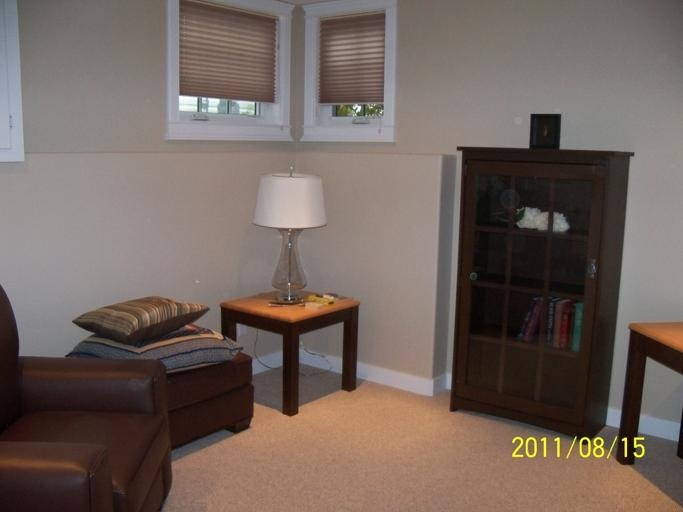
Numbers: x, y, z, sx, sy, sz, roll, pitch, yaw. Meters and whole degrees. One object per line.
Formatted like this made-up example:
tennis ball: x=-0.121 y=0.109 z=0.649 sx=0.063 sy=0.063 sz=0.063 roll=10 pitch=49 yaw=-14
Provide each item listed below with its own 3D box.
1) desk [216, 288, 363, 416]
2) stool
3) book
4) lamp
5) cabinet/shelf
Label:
desk: x=-0.401 y=0.536 z=4.000 sx=0.820 sy=0.845 sz=0.844 roll=6 pitch=10 yaw=40
stool: x=-0.991 y=0.722 z=3.334 sx=0.648 sy=0.561 sz=0.670 roll=7 pitch=11 yaw=36
book: x=1.295 y=0.398 z=3.386 sx=0.273 sy=0.378 sz=0.379 roll=7 pitch=3 yaw=-11
lamp: x=-0.357 y=-0.115 z=3.738 sx=0.387 sy=0.921 sz=0.393 roll=10 pitch=15 yaw=38
cabinet/shelf: x=1.273 y=0.238 z=3.528 sx=0.866 sy=1.685 sz=0.459 roll=5 pitch=4 yaw=36
